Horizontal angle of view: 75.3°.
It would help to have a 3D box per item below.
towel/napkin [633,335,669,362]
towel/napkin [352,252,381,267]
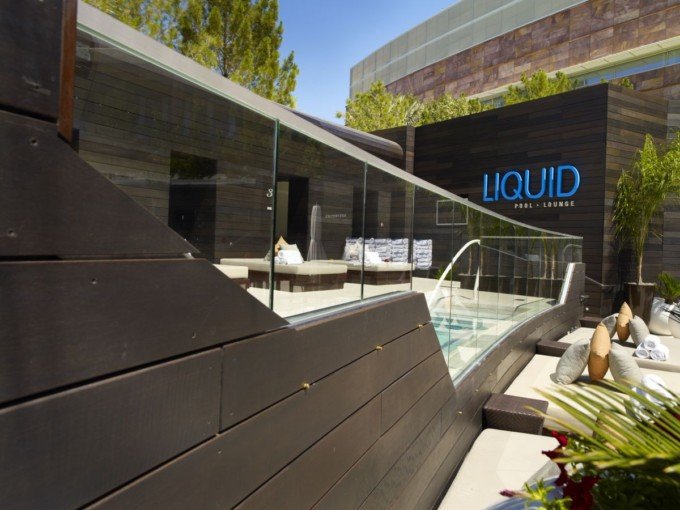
[{"bbox_3d":[3.673,1.110,5.267,0.246,0.136,0.353,-1,1,32],"label":"towel/napkin"},{"bbox_3d":[0.137,0.015,2.130,0.073,0.035,0.102,6,5,43],"label":"towel/napkin"}]
